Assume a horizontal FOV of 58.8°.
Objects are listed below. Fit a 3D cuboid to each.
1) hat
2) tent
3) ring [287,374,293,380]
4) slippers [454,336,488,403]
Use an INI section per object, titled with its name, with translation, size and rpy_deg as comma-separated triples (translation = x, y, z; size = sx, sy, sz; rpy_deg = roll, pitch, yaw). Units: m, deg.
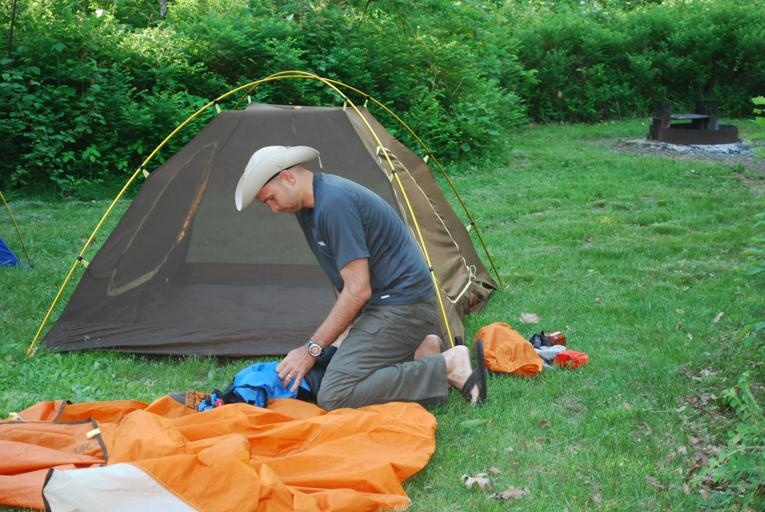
[hat]
translation = -0.893, -0.715, 5.566
size = 0.625, 0.283, 0.488
rpy_deg = -35, 14, -19
[tent]
translation = -1.114, -0.105, 6.885
size = 3.499, 1.938, 3.494
rpy_deg = 0, 10, 13
[ring]
translation = -0.756, 0.985, 5.548
size = 0.038, 0.038, 0.036
rpy_deg = 18, 22, -8
[slippers]
translation = 0.769, 0.932, 5.713
size = 0.144, 0.565, 0.215
rpy_deg = -9, 12, -13
